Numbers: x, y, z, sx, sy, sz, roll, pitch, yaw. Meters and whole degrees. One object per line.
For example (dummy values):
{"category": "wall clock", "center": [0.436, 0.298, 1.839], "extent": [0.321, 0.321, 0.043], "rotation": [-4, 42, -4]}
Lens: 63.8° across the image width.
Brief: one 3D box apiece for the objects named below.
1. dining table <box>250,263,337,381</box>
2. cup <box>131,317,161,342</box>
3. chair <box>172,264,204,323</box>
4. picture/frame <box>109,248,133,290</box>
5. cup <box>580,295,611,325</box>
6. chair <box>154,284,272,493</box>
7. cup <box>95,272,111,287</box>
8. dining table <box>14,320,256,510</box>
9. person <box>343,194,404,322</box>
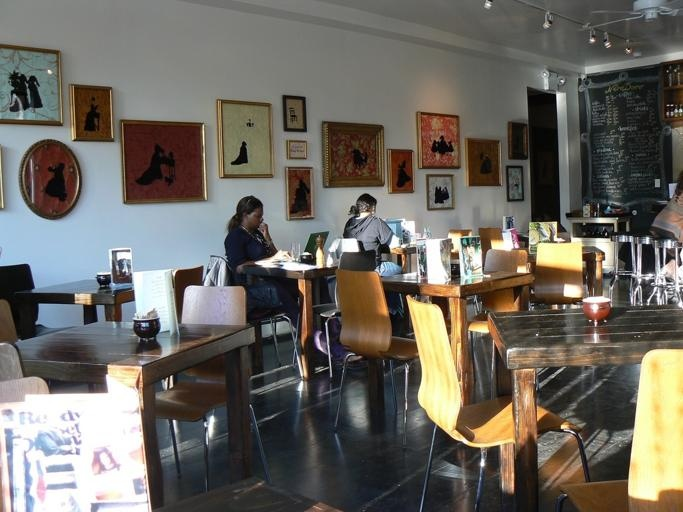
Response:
{"category": "dining table", "center": [-0.448, 0.585, 5.484], "extent": [1.117, 1.198, 0.863], "rotation": [1, 2, 37]}
{"category": "cup", "center": [-0.910, 0.326, 2.513], "extent": [0.108, 0.086, 0.104], "rotation": [0, -3, 0]}
{"category": "chair", "center": [-1.302, 0.335, 4.518], "extent": [0.263, 0.469, 0.470], "rotation": [-2, -2, 8]}
{"category": "picture/frame", "center": [-1.821, 0.077, 4.501], "extent": [0.165, 0.306, 0.031], "rotation": [-3, 14, -21]}
{"category": "cup", "center": [1.185, 0.254, 2.574], "extent": [0.112, 0.104, 0.121], "rotation": [0, -2, 0]}
{"category": "chair", "center": [-0.785, 0.755, 3.078], "extent": [0.555, 1.044, 0.619], "rotation": [3, 9, 22]}
{"category": "cup", "center": [-1.940, 0.186, 4.414], "extent": [0.107, 0.104, 0.113], "rotation": [0, 3, 0]}
{"category": "dining table", "center": [-0.956, 0.444, 2.652], "extent": [0.843, 0.882, 0.883], "rotation": [2, 8, 29]}
{"category": "person", "center": [0.375, 0.095, 6.333], "extent": [0.631, 1.539, 0.797], "rotation": [1, 3, 35]}
